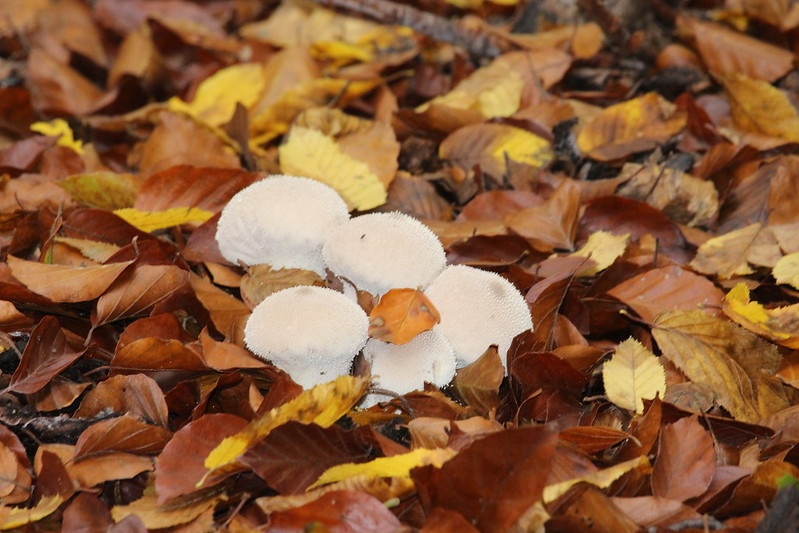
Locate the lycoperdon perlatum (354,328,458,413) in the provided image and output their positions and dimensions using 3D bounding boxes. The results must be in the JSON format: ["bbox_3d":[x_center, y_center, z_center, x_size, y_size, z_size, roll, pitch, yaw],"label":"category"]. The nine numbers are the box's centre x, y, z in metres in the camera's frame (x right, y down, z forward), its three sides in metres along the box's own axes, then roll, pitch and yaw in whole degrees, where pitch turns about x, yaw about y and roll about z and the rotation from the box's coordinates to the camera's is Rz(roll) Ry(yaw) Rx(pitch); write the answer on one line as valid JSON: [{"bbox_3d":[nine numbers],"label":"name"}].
[{"bbox_3d":[0.028,0.229,2.322,0.220,0.084,0.143,-9,82,-5],"label":"lycoperdon perlatum"}]
